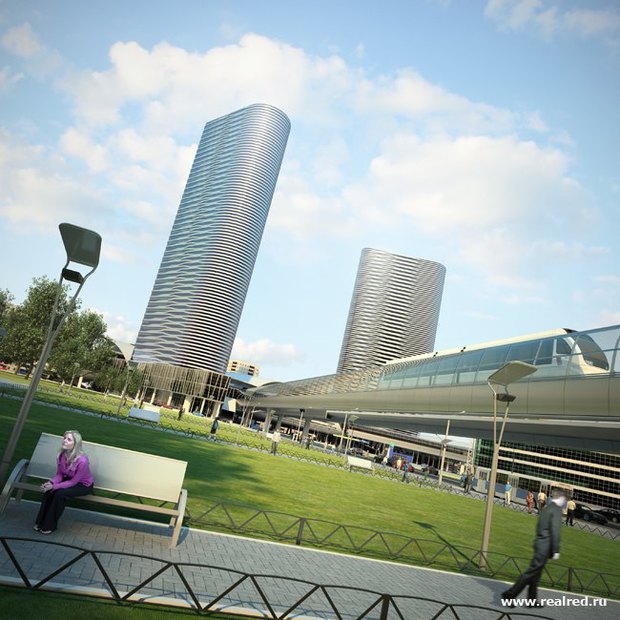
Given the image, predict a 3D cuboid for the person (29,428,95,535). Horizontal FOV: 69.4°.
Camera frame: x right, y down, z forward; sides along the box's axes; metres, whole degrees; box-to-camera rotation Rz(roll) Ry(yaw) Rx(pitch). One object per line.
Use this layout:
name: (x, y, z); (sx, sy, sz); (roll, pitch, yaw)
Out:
person: (-3.065, 2.149, 5.646); (0.596, 1.190, 0.390); (23, -16, -31)

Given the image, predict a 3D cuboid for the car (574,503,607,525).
car: (19.153, 13.942, 30.724); (1.161, 0.615, 2.223); (6, -16, -10)

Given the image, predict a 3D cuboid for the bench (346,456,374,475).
bench: (3.235, 10.359, 29.998); (1.847, 0.946, 2.669); (9, -11, 7)

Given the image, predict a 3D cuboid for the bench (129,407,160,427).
bench: (-11.500, 7.259, 30.743); (1.951, 0.725, 1.584); (10, -11, 3)

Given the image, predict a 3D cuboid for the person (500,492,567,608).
person: (3.623, 3.689, 7.088); (0.599, 1.817, 1.307); (7, -15, 30)

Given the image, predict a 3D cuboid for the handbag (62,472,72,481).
handbag: (-3.121, 2.118, 5.681); (0.096, 0.071, 0.020); (11, -9, -6)
